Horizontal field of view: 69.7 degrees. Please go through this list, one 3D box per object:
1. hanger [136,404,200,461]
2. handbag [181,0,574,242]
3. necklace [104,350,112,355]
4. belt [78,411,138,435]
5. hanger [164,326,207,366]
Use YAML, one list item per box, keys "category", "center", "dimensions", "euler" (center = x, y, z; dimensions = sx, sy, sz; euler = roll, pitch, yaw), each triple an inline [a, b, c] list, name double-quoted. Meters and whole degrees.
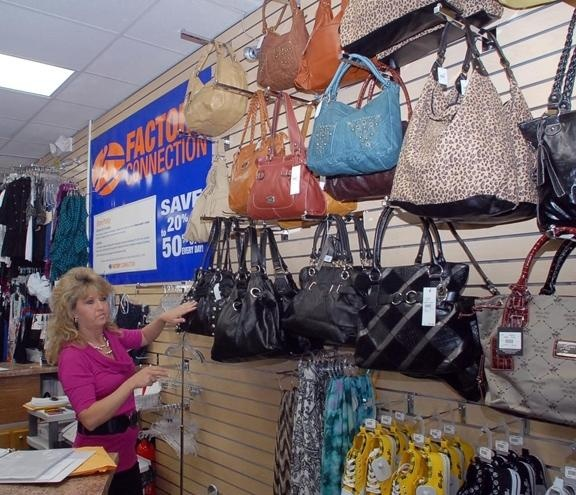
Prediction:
- category: "hanger"
  center: [-1.008, 1.484, 3.599]
  dimensions: [0.539, 0.179, 0.543]
  euler: [-4, 17, -42]
- category: "handbag"
  center: [0.054, -0.190, 2.038]
  dimensions: [0.278, 0.947, 2.122]
  euler: [5, -13, -33]
- category: "necklace"
  center: [-1.074, 0.620, 2.450]
  dimensions: [0.027, 0.015, 0.037]
  euler: [-3, -8, -3]
- category: "belt"
  center: [-0.974, 0.991, 2.357]
  dimensions: [0.180, 0.067, 0.208]
  euler: [-15, -6, 5]
- category: "hanger"
  center: [-0.850, 0.809, 3.353]
  dimensions: [0.359, 0.188, 0.394]
  euler: [9, -4, 6]
